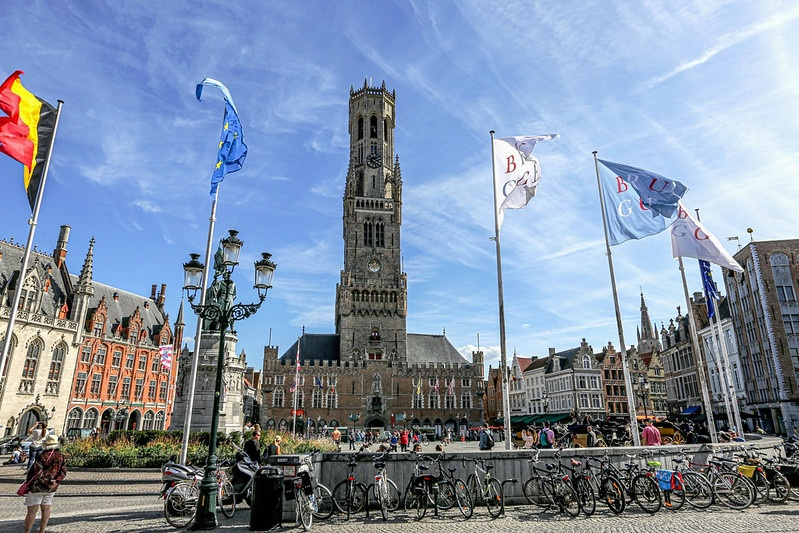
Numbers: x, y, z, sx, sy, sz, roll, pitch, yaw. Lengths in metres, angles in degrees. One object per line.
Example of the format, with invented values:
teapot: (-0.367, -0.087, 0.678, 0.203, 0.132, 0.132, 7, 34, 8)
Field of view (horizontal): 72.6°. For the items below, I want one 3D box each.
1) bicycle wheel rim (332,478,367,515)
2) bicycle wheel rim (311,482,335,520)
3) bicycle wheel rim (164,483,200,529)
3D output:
bicycle wheel rim: (-1.851, 8.610, 20.300, 1.251, 1.427, 0.821, 0, -6, -5)
bicycle wheel rim: (-2.775, 8.753, 20.124, 0.747, 1.181, 0.711, 0, -6, -6)
bicycle wheel rim: (-7.846, 8.559, 19.528, 1.102, 1.361, 0.847, 2, -6, -23)
